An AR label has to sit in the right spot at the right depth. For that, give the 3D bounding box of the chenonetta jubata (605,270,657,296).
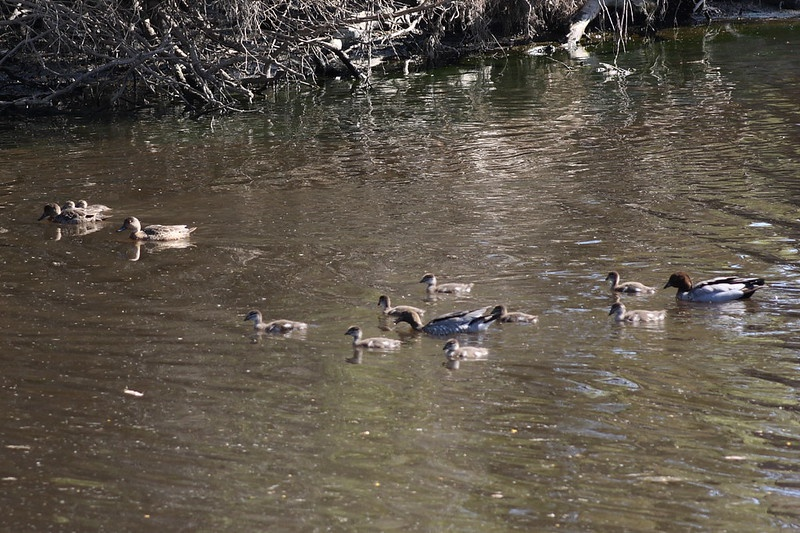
[{"bbox_3d":[4.689,0.396,18.437,1.239,0.378,0.380,2,-6,8],"label":"chenonetta jubata"}]

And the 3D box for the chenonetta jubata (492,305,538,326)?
[{"bbox_3d":[2.180,0.931,17.445,0.951,0.217,0.352,0,-4,22],"label":"chenonetta jubata"}]

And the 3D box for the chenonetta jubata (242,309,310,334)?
[{"bbox_3d":[-2.412,1.044,17.523,1.154,0.334,0.608,6,16,33],"label":"chenonetta jubata"}]

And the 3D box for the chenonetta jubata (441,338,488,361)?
[{"bbox_3d":[1.186,1.495,16.353,0.730,0.163,0.435,1,0,16],"label":"chenonetta jubata"}]

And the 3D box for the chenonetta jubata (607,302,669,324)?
[{"bbox_3d":[4.545,0.858,17.211,1.081,0.389,0.388,-5,16,-9],"label":"chenonetta jubata"}]
